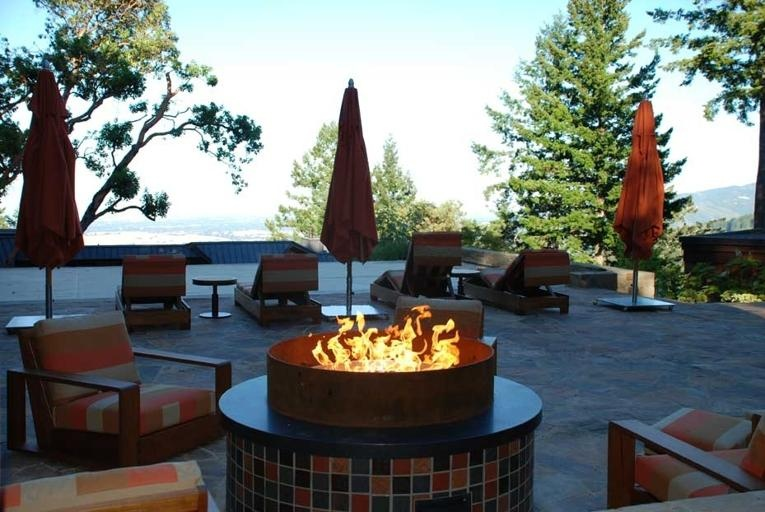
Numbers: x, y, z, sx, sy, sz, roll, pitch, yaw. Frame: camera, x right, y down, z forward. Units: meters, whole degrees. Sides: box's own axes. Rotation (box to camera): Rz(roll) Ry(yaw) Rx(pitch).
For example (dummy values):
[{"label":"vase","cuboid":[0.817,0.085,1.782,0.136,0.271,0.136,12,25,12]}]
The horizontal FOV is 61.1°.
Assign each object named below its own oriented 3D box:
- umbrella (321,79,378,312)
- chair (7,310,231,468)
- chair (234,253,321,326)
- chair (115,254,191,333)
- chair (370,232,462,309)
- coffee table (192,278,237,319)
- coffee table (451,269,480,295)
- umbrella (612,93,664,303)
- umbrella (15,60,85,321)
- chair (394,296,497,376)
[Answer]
[{"label":"umbrella","cuboid":[-0.479,-0.848,9.503,0.806,3.505,0.449,-1,3,-4]},{"label":"chair","cuboid":[-2.346,1.222,5.978,1.515,1.293,1.449,0,0,24]},{"label":"chair","cuboid":[-1.622,0.504,10.474,1.112,1.081,1.467,-1,2,-16]},{"label":"chair","cuboid":[-3.672,0.475,10.255,1.011,1.151,1.920,-2,8,-29]},{"label":"chair","cuboid":[0.653,0.256,11.676,0.959,1.186,1.762,2,-1,-19]},{"label":"coffee table","cuboid":[-2.735,0.659,10.619,0.691,0.611,0.696,2,-8,-32]},{"label":"coffee table","cuboid":[1.591,0.473,12.346,0.548,0.464,0.561,-1,0,1]},{"label":"umbrella","cuboid":[4.308,-1.273,10.909,0.736,2.642,0.345,1,3,21]},{"label":"umbrella","cuboid":[-4.335,-1.143,8.388,0.793,2.557,0.515,-2,3,-23]},{"label":"chair","cuboid":[0.591,0.666,6.357,0.922,0.939,0.728,1,-3,-3]}]
